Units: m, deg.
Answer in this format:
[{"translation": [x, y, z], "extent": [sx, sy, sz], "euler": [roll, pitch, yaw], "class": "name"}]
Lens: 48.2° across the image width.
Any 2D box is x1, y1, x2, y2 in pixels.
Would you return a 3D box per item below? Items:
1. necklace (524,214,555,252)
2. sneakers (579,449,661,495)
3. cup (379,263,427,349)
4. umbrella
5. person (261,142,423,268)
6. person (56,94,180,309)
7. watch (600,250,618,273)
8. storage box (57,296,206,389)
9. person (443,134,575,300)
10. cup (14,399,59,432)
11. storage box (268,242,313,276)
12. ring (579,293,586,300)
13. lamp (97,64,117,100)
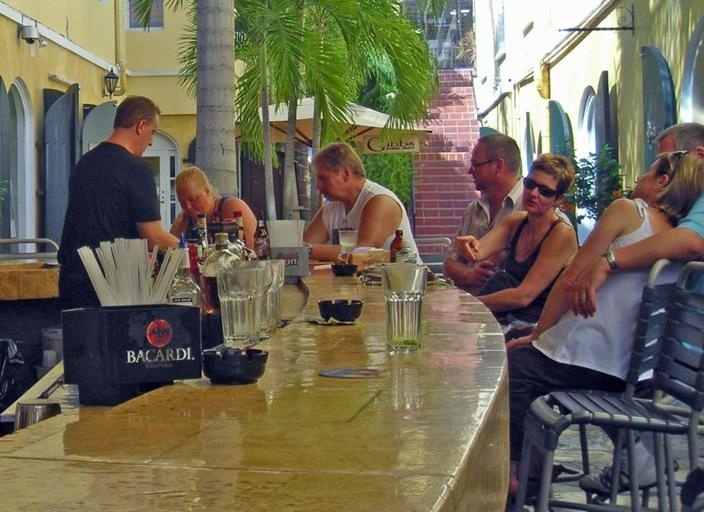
[{"translation": [1.045, -0.127, 4.438], "extent": [0.102, 0.183, 0.160], "euler": [4, 40, 2], "class": "necklace"}, {"translation": [1.276, 0.987, 3.756], "extent": [0.383, 0.273, 0.129], "euler": [-5, 2, -3], "class": "sneakers"}, {"translation": [0.158, 0.139, 2.351], "extent": [0.129, 0.228, 0.232], "euler": [-1, 8, 2], "class": "cup"}, {"translation": [0.194, -1.274, 11.142], "extent": [2.079, 1.542, 1.947], "euler": [-15, -7, -5], "class": "umbrella"}, {"translation": [0.016, -0.200, 5.458], "extent": [0.996, 1.140, 0.825], "euler": [-4, 10, -26], "class": "person"}, {"translation": [-1.325, -0.304, 4.390], "extent": [0.654, 1.183, 0.519], "euler": [-5, 9, -21], "class": "person"}, {"translation": [1.125, 0.020, 3.412], "extent": [0.056, 0.089, 0.090], "euler": [-9, -30, 1], "class": "watch"}, {"translation": [-0.538, 0.219, 1.936], "extent": [0.323, 0.234, 0.184], "euler": [0, 3, -5], "class": "storage box"}, {"translation": [1.016, -0.290, 5.337], "extent": [0.623, 1.045, 0.760], "euler": [7, -7, -41], "class": "person"}, {"translation": [-0.752, 0.369, 1.883], "extent": [0.081, 0.080, 0.083], "euler": [2, -4, 0], "class": "cup"}, {"translation": [-0.362, 0.036, 4.428], "extent": [0.266, 0.207, 0.148], "euler": [0, -7, -4], "class": "storage box"}, {"translation": [1.011, 0.177, 3.448], "extent": [0.022, 0.023, 0.023], "euler": [2, -9, 0], "class": "ring"}, {"translation": [-3.693, -2.681, 12.127], "extent": [0.226, 0.483, 0.522], "euler": [-2, 8, -6], "class": "lamp"}]
